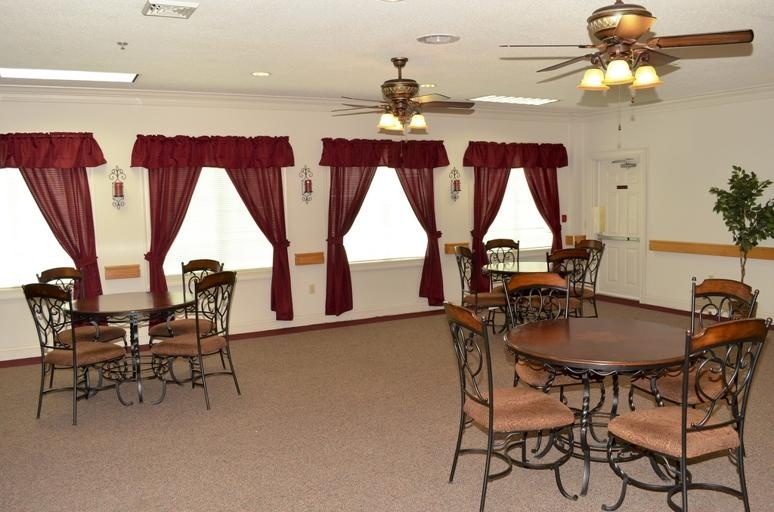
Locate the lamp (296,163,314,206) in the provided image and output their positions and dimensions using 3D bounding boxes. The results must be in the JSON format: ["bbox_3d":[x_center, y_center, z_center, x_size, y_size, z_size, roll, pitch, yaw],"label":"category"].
[{"bbox_3d":[-1.304,-0.995,8.875,0.241,0.581,0.104,-5,8,-14],"label":"lamp"}]

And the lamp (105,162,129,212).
[{"bbox_3d":[-3.884,-0.854,7.943,0.218,0.595,0.118,-6,8,-23],"label":"lamp"}]

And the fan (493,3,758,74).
[{"bbox_3d":[2.152,-1.656,4.757,1.475,0.429,1.289,0,3,22],"label":"fan"}]

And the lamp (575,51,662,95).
[{"bbox_3d":[1.955,-1.422,4.616,0.624,0.214,0.616,6,9,34],"label":"lamp"}]

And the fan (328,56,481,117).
[{"bbox_3d":[0.321,-1.596,6.407,1.514,0.532,1.318,4,11,21],"label":"fan"}]

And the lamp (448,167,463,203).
[{"bbox_3d":[1.254,-1.121,9.873,0.259,0.569,0.118,-7,9,-31],"label":"lamp"}]

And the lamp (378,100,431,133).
[{"bbox_3d":[0.195,-1.446,6.254,0.639,0.320,0.608,-11,17,-41],"label":"lamp"}]
